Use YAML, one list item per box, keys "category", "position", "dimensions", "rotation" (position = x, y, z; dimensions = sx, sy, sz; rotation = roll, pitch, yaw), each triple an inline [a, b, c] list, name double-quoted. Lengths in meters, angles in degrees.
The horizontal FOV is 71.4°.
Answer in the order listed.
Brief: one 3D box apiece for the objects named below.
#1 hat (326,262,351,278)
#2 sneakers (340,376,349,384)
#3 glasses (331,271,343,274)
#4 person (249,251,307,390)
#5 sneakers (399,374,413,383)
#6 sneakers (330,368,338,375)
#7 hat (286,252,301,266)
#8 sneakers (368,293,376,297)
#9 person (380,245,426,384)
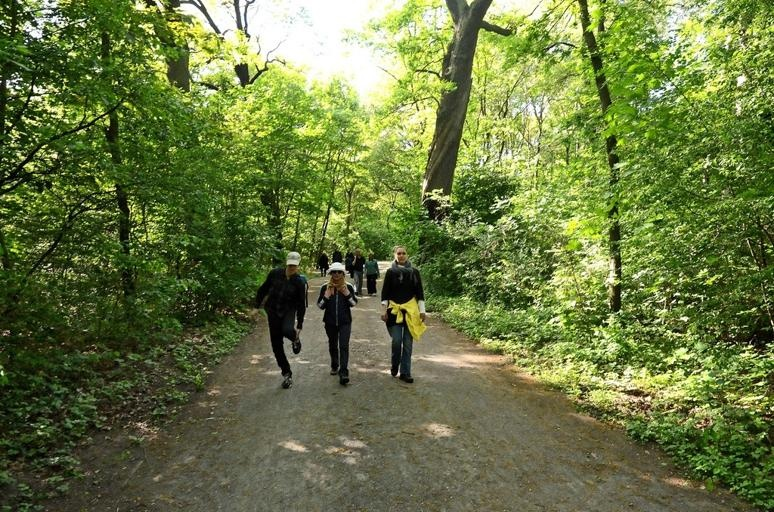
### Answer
- category: "hat"
  position: [-1.431, 0.395, 16.092]
  dimensions: [0.812, 0.307, 0.865]
  rotation: [1, -11, 0]
- category: "sneakers"
  position: [-0.830, 2.382, 10.316]
  dimensions: [0.107, 0.172, 0.168]
  rotation: [5, 35, -22]
- category: "glasses"
  position: [-0.981, 0.309, 10.379]
  dimensions: [0.247, 0.065, 0.125]
  rotation: [2, -6, -5]
- category: "person"
  position: [-2.080, 1.238, 10.518]
  dimensions: [0.887, 2.590, 1.299]
  rotation: [3, -7, -12]
- category: "sneakers"
  position: [0.380, 2.420, 10.617]
  dimensions: [0.114, 0.095, 0.247]
  rotation: [3, -4, -36]
- category: "sneakers"
  position: [-1.076, 2.324, 10.829]
  dimensions: [0.115, 0.090, 0.215]
  rotation: [3, -12, -8]
- category: "hat"
  position: [-1.778, 0.049, 10.175]
  dimensions: [0.225, 0.271, 0.274]
  rotation: [2, -6, -6]
- category: "sneakers"
  position: [-0.594, 1.571, 21.686]
  dimensions: [0.114, 0.207, 0.324]
  rotation: [4, -12, -26]
- category: "person"
  position: [0.306, 1.132, 10.876]
  dimensions: [0.848, 2.758, 0.942]
  rotation: [2, -6, 2]
